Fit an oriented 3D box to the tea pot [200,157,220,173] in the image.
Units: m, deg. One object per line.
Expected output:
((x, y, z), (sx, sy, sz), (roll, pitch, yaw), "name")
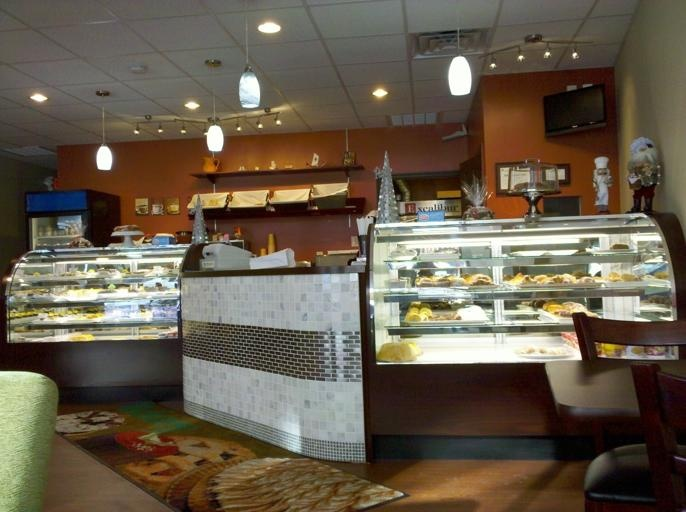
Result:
((-1.898, -1.272, 8.207), (0.303, 0.221, 0.201), (4, -6, -19), "tea pot")

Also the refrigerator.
((-3.704, -0.479, 7.836), (1.163, 1.233, 0.741), (0, -1, 10), "refrigerator")

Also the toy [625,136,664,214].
((2.515, -0.689, 4.815), (0.256, 0.638, 0.812), (0, 7, 27), "toy")

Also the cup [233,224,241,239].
((-1.510, -0.336, 8.256), (0.105, 0.161, 0.285), (-4, 7, -9), "cup")

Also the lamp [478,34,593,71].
((1.931, -2.006, 5.754), (1.069, 0.247, 0.833), (-1, 6, 11), "lamp")

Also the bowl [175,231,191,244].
((-2.216, -0.254, 7.976), (0.218, 0.115, 0.191), (1, -1, 10), "bowl")

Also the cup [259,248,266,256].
((-1.145, -0.065, 8.220), (0.109, 0.101, 0.276), (-4, 7, -10), "cup")

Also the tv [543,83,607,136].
((2.491, -1.551, 6.156), (0.718, 0.424, 0.094), (0, 8, 39), "tv")
